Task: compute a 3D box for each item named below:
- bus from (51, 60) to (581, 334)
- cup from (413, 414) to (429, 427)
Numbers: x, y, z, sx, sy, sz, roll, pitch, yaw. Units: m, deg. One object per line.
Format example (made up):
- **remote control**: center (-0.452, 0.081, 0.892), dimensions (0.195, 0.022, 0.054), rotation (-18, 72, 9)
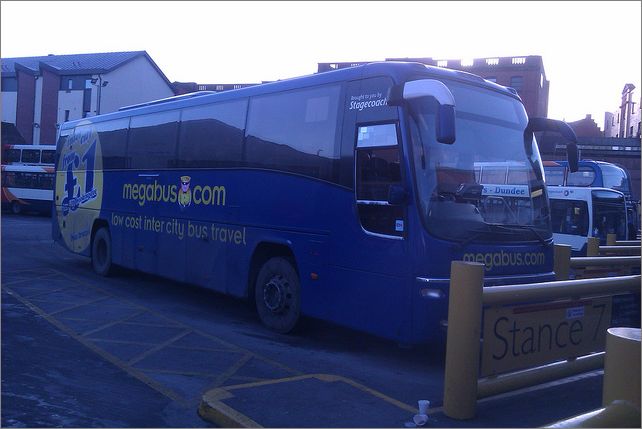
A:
- **bus**: center (-2.196, -0.381, 12.704), dimensions (3.998, 4.190, 13.219), rotation (-2, 3, -40)
- **cup**: center (1.202, 2.486, 6.614), dimensions (0.120, 0.129, 0.089), rotation (-27, -11, 39)
